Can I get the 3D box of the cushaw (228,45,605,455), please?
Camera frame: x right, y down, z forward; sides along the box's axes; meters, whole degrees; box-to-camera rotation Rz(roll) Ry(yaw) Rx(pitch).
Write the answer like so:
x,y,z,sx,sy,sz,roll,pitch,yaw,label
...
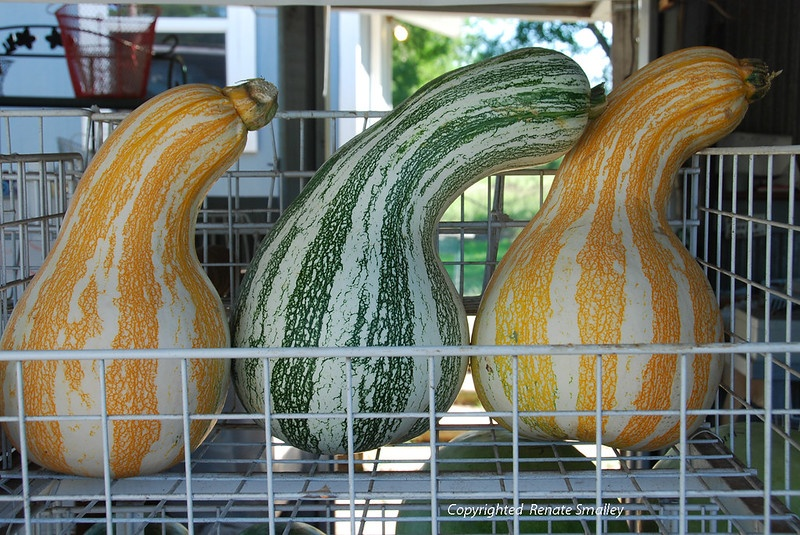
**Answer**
x,y,z,sx,sy,sz,roll,pitch,yaw,label
0.040,-0.025,2.189,0.679,0.725,0.252,-2,5,-9,cushaw
